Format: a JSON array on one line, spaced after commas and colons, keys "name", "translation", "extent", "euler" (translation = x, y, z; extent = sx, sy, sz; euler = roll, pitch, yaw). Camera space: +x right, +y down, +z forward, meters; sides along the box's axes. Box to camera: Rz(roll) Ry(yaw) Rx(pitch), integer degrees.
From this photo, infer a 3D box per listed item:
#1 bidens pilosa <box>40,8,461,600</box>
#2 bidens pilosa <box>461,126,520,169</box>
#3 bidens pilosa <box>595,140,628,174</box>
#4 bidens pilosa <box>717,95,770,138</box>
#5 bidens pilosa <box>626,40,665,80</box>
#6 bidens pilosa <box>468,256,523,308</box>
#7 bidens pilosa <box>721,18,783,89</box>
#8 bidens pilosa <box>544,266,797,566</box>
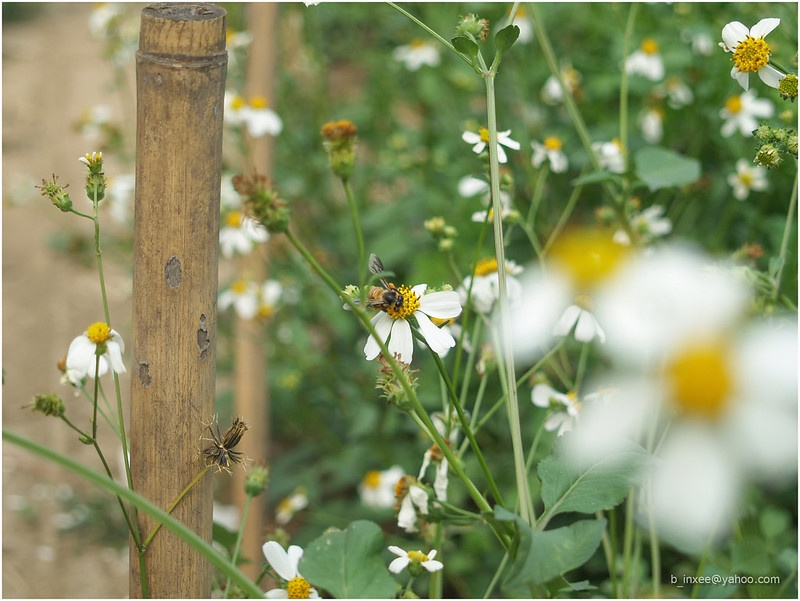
[{"name": "bidens pilosa", "translation": [-0.520, 0.009, 2.288], "extent": [0.558, 1.366, 0.390], "euler": [-3, -3, 7]}, {"name": "bidens pilosa", "translation": [0.237, -0.373, 2.537], "extent": [0.127, 0.141, 0.047], "euler": [-21, -41, 13]}, {"name": "bidens pilosa", "translation": [0.551, -0.377, 2.643], "extent": [0.038, 0.100, 0.092], "euler": [-31, -44, 33]}, {"name": "bidens pilosa", "translation": [1.095, -0.592, 3.205], "extent": [0.157, 0.140, 0.136], "euler": [-5, -4, 24]}, {"name": "bidens pilosa", "translation": [0.850, -0.840, 3.426], "extent": [0.059, 0.105, 0.127], "euler": [4, 20, -20]}, {"name": "bidens pilosa", "translation": [0.240, -0.050, 2.608], "extent": [0.148, 0.146, 0.332], "euler": [-3, -3, 4]}, {"name": "bidens pilosa", "translation": [0.865, -0.602, 2.484], "extent": [0.141, 0.191, 0.171], "euler": [-4, -4, 25]}, {"name": "bidens pilosa", "translation": [0.760, 0.272, 2.570], "extent": [0.657, 0.776, 0.437], "euler": [-3, -3, -5]}]
